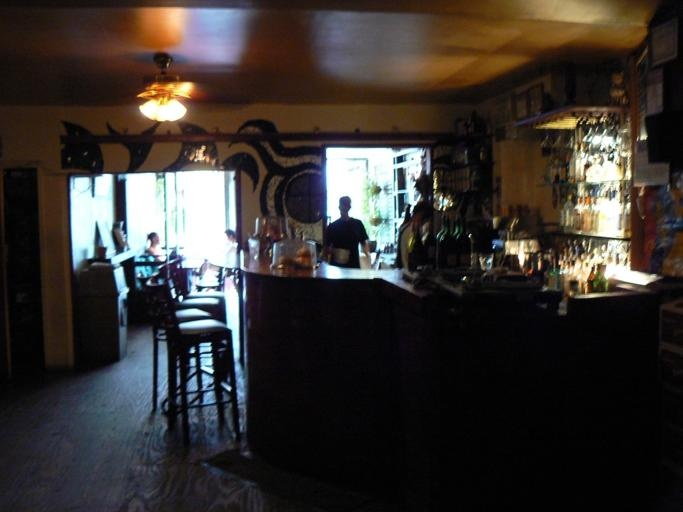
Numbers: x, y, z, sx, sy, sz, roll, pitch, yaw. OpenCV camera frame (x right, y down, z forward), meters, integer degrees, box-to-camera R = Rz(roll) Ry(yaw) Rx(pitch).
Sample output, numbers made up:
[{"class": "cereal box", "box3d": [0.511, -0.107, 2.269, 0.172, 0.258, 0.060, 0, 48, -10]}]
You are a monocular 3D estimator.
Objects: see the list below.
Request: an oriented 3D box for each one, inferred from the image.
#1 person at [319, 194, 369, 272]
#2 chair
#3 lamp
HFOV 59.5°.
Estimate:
[{"class": "person", "box3d": [0.040, -0.210, 6.995, 0.554, 0.957, 1.572, -1, 10, 2]}, {"class": "chair", "box3d": [-1.498, 0.982, 5.952, 0.536, 1.320, 1.398, -2, 5, -15]}, {"class": "lamp", "box3d": [-1.714, -1.649, 5.916, 0.538, 0.600, 0.570, 3, 6, 20]}]
